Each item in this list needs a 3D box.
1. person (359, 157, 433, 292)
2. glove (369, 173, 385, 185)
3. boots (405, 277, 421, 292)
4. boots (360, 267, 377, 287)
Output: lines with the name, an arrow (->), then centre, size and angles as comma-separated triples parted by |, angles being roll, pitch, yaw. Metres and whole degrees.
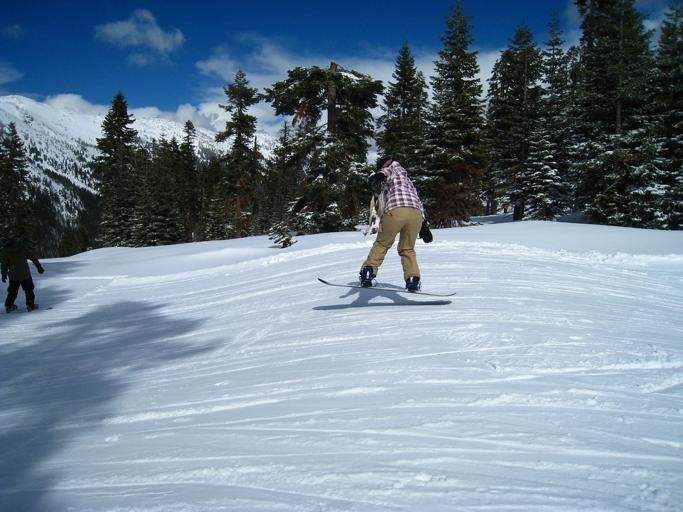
person -> 0.841, -0.525, 10.317 | 0.915, 2.166, 1.221 | -5, 11, 22
glove -> 0.596, -1.313, 10.546 | 0.277, 0.227, 0.175 | 18, 19, -2
boots -> 1.151, 0.441, 10.078 | 0.195, 0.249, 0.278 | 3, -15, -8
boots -> 0.419, 0.309, 10.128 | 0.274, 0.301, 0.301 | 2, 17, 2
